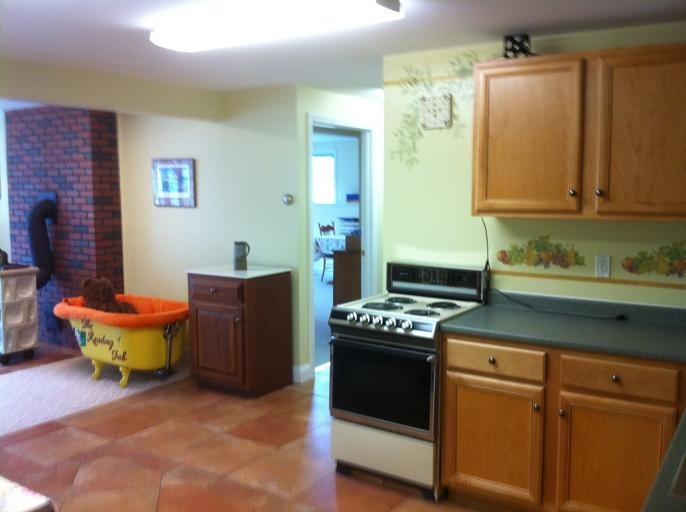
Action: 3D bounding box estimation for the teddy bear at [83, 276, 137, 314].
[{"bbox_3d":[-2.323,0.380,5.298,0.458,0.475,0.311,4,0,-12],"label":"teddy bear"}]

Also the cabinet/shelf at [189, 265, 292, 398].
[{"bbox_3d":[-0.970,0.692,5.082,0.838,1.126,0.787,1,3,19],"label":"cabinet/shelf"}]

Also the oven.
[{"bbox_3d":[0.414,0.936,3.658,0.845,1.123,0.769,2,2,30],"label":"oven"}]
